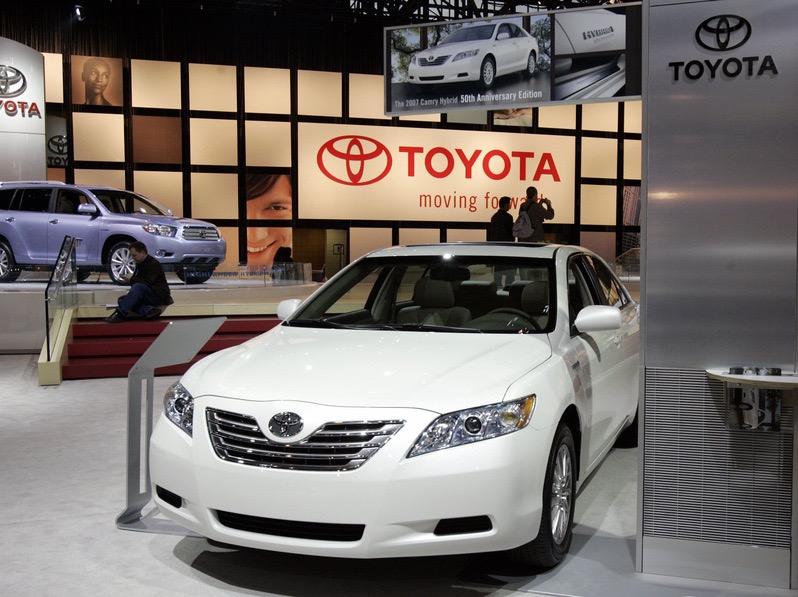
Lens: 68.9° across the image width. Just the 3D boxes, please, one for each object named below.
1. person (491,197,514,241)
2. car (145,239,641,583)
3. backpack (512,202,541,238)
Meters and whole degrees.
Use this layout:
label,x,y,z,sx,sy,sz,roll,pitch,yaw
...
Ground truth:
label,x,y,z,sx,sy,sz,roll,pitch,yaw
person,2.533,-1.989,14.433,0.607,1.166,2.223,0,2,9
car,0.151,0.583,3.799,3.062,1.965,1.994,-3,3,-44
backpack,2.989,-1.810,14.053,0.404,0.859,0.538,-2,4,-20
